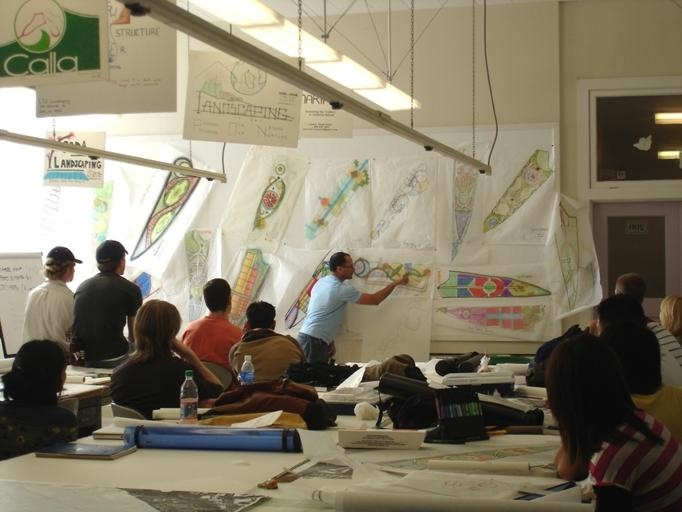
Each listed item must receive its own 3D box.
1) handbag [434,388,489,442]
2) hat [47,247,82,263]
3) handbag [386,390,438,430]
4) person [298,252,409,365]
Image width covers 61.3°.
[{"bbox_3d":[0.521,0.711,2.546,0.185,0.247,0.073,4,-44,-8],"label":"handbag"},{"bbox_3d":[-2.175,-0.007,4.518,0.144,0.114,0.220,4,7,35],"label":"hat"},{"bbox_3d":[0.321,0.712,2.658,0.192,0.072,0.150,-2,-1,5],"label":"handbag"},{"bbox_3d":[0.023,0.503,5.838,1.014,1.067,0.408,-5,8,-30],"label":"person"}]
